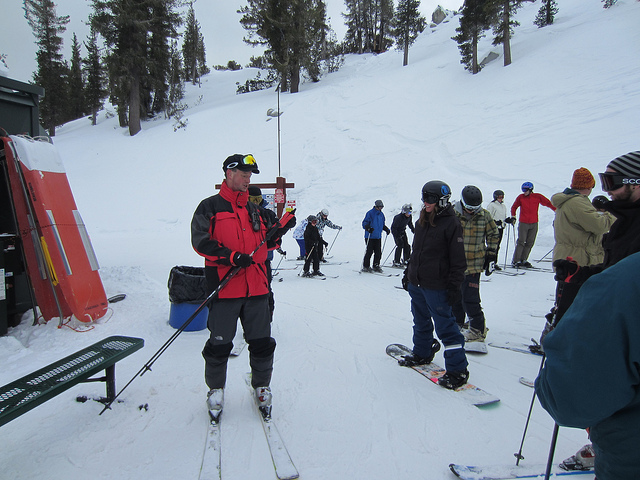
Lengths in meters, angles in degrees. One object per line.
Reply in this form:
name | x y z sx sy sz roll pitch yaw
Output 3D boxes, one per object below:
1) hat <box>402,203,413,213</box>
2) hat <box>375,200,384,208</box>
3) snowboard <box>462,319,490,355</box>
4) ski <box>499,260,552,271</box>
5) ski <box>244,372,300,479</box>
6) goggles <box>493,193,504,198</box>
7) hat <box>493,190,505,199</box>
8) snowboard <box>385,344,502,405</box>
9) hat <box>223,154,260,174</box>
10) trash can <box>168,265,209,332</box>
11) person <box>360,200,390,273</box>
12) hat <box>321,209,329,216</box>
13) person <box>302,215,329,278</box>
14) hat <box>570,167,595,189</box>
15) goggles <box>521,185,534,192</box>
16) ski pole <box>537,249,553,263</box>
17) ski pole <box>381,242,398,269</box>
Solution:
hat | 2.276 -0.816 12.167 0.236 0.278 0.602 -1 15 7
hat | 1.559 -0.942 12.203 0.184 0.172 0.142 -3 4 23
snowboard | 2.463 1.545 7.401 0.401 0.414 0.190 18 -36 -10
ski | 5.203 0.614 11.791 0.996 0.088 0.167 7 11 43
ski | -0.625 2.296 5.965 0.211 0.089 1.637 -3 21 -16
goggles | 4.427 -1.082 11.646 0.187 0.114 0.257 1 -4 -9
hat | 4.445 -1.119 11.574 0.200 0.170 0.172 -12 3 32
snowboard | 1.708 2.007 6.764 0.501 0.302 1.869 -13 23 -33
hat | -0.989 -0.945 5.942 0.335 0.159 0.257 20 -6 -6
trash can | -2.211 1.006 7.998 0.746 0.968 0.825 2 2 -11
person | 1.427 -0.098 12.397 0.680 1.880 0.992 0 15 8
hat | 0.155 -0.784 12.897 0.144 0.177 0.627 -1 16 8
person | -0.132 0.190 12.092 0.675 1.504 1.008 -3 15 -1
hat | 4.056 -0.926 7.220 0.321 0.315 0.326 2 3 39
goggles | 5.076 -1.233 11.336 0.183 0.080 0.166 5 -2 -26
ski pole | 6.011 0.439 12.476 0.587 0.079 0.080 -28 1 -11
ski pole | 2.060 0.485 13.802 0.082 0.823 0.087 28 14 -31
